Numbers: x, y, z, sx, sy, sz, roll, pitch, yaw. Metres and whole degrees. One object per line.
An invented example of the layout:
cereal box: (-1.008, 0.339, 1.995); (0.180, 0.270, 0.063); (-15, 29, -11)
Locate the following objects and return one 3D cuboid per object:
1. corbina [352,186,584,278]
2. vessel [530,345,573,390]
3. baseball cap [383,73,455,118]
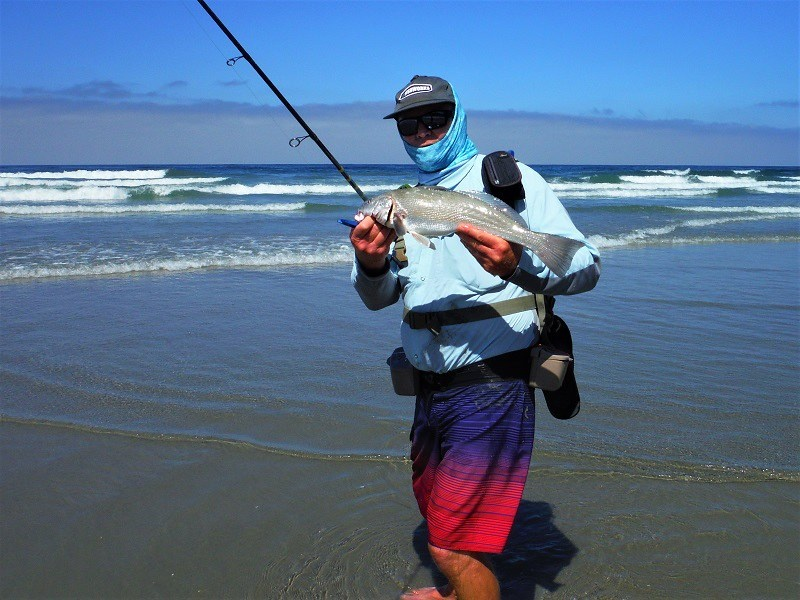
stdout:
corbina: (0.305, -0.390, 3.467); (1.313, 0.361, 0.264); (19, 2, 34)
vessel: (0.772, 0.365, 3.562); (0.300, 0.233, 0.211); (2, 0, 6)
baseball cap: (0.123, -1.147, 3.724); (0.359, 0.175, 0.410); (-7, 10, 27)
